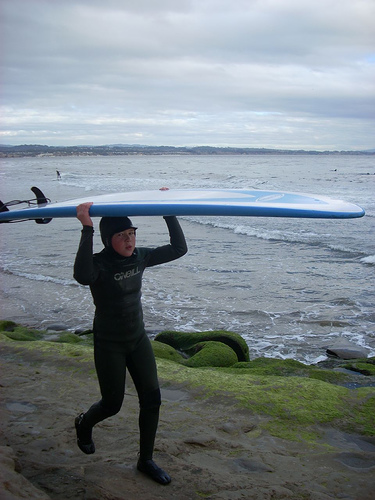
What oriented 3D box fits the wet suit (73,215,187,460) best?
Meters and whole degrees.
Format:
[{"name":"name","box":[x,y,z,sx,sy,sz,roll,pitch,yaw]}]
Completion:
[{"name":"wet suit","box":[-0.443,0.606,3.343,0.660,1.335,0.617,9,4,-10]}]
